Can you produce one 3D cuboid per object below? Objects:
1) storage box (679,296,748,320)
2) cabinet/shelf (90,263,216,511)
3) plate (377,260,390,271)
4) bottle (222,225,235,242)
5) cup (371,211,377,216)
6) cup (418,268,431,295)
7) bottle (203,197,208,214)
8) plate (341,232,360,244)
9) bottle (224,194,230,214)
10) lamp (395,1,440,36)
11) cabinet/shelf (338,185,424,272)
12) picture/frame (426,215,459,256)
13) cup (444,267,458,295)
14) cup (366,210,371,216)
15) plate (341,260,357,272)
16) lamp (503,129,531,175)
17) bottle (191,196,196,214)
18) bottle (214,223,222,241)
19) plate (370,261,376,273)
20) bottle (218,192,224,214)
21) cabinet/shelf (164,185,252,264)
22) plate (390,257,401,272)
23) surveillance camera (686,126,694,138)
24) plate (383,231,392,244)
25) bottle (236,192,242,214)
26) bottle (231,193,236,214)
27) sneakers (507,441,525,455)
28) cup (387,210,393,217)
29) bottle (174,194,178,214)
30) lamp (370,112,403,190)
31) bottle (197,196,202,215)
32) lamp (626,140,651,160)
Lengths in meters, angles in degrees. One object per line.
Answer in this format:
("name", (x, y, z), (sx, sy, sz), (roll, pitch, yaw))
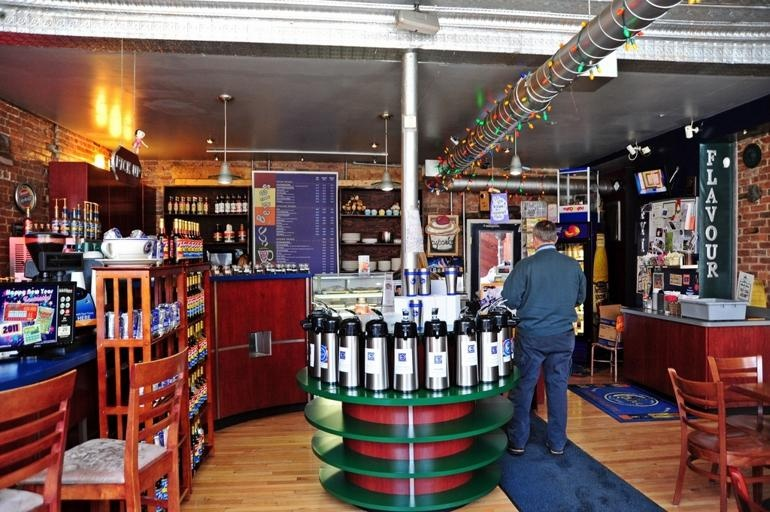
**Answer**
("storage box", (3.816, 0.615, 7.691), (0.352, 0.170, 0.439), (1, 1, -12))
("cabinet/shelf", (-2.067, 1.147, 5.642), (0.643, 2.157, 2.244), (0, 0, 1))
("plate", (-0.019, 0.159, 10.717), (0.216, 0.167, 0.252), (-1, 13, -1))
("bottle", (-2.612, -0.388, 10.830), (0.191, 0.272, 0.324), (-4, 13, -13))
("cup", (-0.188, -0.727, 11.107), (0.079, 0.060, 0.078), (-1, -5, 0))
("cup", (0.391, 0.254, 6.396), (0.103, 0.242, 0.168), (-3, 13, -8))
("bottle", (-3.001, -0.831, 10.833), (0.093, 0.240, 0.257), (-4, 13, -14))
("plate", (-0.560, -0.304, 10.915), (0.199, 0.120, 0.203), (2, 1, 20))
("bottle", (-2.633, -0.849, 10.873), (0.095, 0.255, 0.197), (-4, 13, -12))
("lamp", (0.328, -2.439, 6.676), (0.442, 0.316, 0.287), (-1, 13, 1))
("cabinet/shelf", (-0.174, -0.264, 11.144), (1.224, 2.026, 0.475), (2, -10, -2))
("picture/frame", (1.030, -0.372, 11.518), (0.668, 0.753, 0.667), (0, -5, 32))
("cup", (0.656, 0.246, 6.453), (0.115, 0.271, 0.116), (-1, 13, 0))
("cup", (-0.292, -0.731, 11.068), (0.086, 0.068, 0.087), (-1, -2, 0))
("plate", (-0.580, 0.165, 10.710), (0.203, 0.134, 0.205), (1, 0, -2))
("lamp", (1.951, -1.501, 9.711), (0.586, 0.715, 0.630), (0, -6, 4))
("bottle", (-3.182, -0.836, 10.797), (0.090, 0.235, 0.215), (-5, 13, -16))
("bottle", (-2.806, -0.388, 10.893), (0.157, 0.245, 0.289), (-4, 13, -14))
("plate", (-0.186, 0.174, 10.572), (0.128, 0.120, 0.113), (0, 1, -15))
("bottle", (-2.730, -0.851, 10.835), (0.088, 0.244, 0.152), (-4, 13, -14))
("cabinet/shelf", (-2.648, -0.506, 9.777), (1.262, 1.396, 0.398), (1, 1, -5))
("plate", (0.163, 0.126, 10.798), (0.181, 0.198, 0.174), (1, 0, -7))
("surveillance camera", (4.220, -1.721, 9.012), (0.129, 0.174, 0.045), (-3, 6, -20))
("plate", (0.028, -0.322, 11.017), (0.156, 0.178, 0.156), (0, 1, -12))
("bottle", (-2.438, -0.868, 10.907), (0.102, 0.265, 0.181), (-4, 13, -13))
("bottle", (-2.554, -0.867, 10.896), (0.067, 0.240, 0.175), (-4, 13, -13))
("sneakers", (1.348, 1.983, 6.681), (0.135, 0.119, 0.278), (1, 4, -1))
("cup", (0.072, -0.750, 11.156), (0.103, 0.090, 0.143), (-2, 13, -5))
("bottle", (-3.462, -0.839, 10.773), (0.076, 0.252, 0.163), (-4, 13, -11))
("lamp", (0.020, -1.498, 9.524), (0.271, 1.079, 0.273), (-1, 4, -2))
("bottle", (-3.091, -0.826, 10.793), (0.094, 0.254, 0.165), (-4, 13, -12))
("lamp", (3.969, -1.613, 10.141), (0.341, 0.257, 0.122), (-1, 18, 41))
